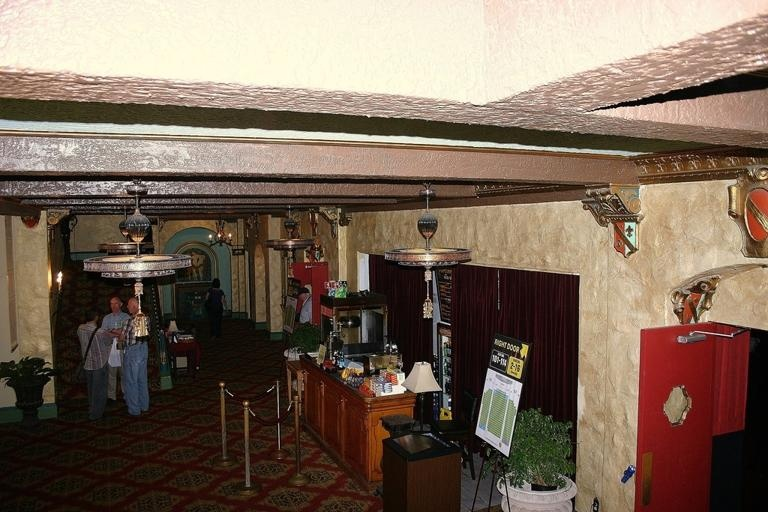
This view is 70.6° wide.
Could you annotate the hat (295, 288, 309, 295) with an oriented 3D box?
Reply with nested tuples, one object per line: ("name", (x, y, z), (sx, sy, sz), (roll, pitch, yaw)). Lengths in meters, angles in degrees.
("hat", (-1.828, 0.747, 11.948), (0.350, 0.157, 0.162), (1, 4, 29))

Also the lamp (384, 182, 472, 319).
("lamp", (0.412, -0.052, 5.116), (0.831, 1.207, 0.824), (0, 4, -2))

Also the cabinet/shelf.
("cabinet/shelf", (-0.368, 1.646, 7.036), (0.978, 1.351, 2.636), (-3, 9, -26))

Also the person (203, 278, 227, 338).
("person", (-4.928, 1.448, 15.800), (0.535, 1.553, 1.485), (-2, 4, -19))

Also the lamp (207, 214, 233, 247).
("lamp", (-5.226, -0.825, 17.180), (0.828, 1.051, 0.831), (3, 4, 6))

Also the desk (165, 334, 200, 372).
("desk", (-4.305, 1.958, 11.634), (0.621, 0.627, 1.272), (0, 0, -23))

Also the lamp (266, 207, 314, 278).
("lamp", (-1.494, -0.252, 8.847), (0.729, 0.837, 0.664), (-3, 4, -35))
